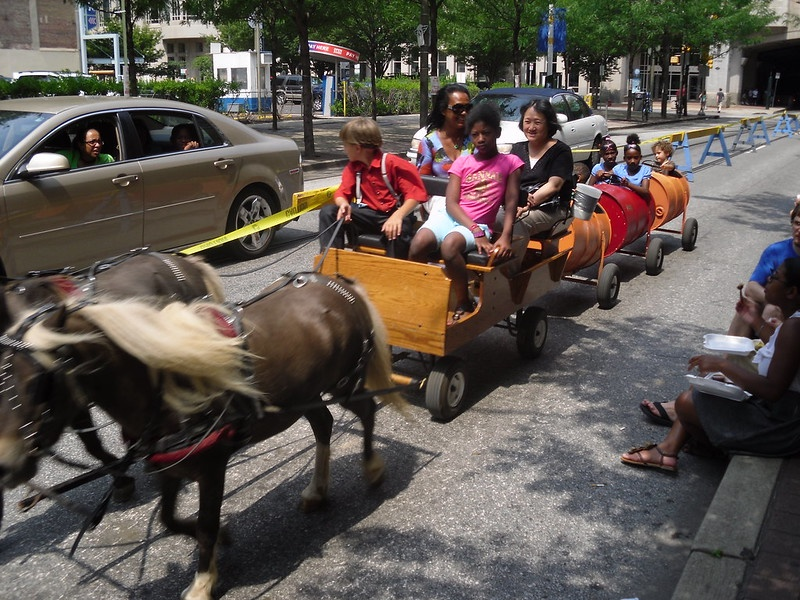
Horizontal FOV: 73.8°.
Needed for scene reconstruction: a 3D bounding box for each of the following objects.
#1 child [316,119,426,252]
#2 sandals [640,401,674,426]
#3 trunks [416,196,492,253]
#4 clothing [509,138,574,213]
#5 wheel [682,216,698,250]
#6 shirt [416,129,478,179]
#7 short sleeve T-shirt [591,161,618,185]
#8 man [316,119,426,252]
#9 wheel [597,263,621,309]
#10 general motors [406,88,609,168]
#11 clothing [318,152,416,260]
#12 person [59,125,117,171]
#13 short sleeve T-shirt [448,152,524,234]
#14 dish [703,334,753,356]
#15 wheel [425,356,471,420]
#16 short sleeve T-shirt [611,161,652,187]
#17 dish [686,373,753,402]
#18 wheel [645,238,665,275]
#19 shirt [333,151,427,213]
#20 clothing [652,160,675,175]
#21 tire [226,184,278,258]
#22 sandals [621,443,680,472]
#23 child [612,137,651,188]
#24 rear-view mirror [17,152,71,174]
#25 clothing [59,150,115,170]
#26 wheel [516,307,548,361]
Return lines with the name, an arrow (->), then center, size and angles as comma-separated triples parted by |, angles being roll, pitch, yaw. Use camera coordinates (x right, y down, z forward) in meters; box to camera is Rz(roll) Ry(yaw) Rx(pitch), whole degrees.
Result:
child -> -0.246, -0.837, 4.677 | 0.960, 1.342, 0.818 | 7, 21, 13
sandals -> 2.068, 0.926, 4.318 | 0.322, 0.078, 0.123 | 10, 16, 5
trunks -> 0.443, -0.707, 4.543 | 0.415, 0.340, 0.646 | 3, 45, 10
clothing -> 1.529, -1.364, 5.678 | 0.419, 0.726, 0.834 | 27, 21, 38
wheel -> 4.961, -1.123, 9.141 | 0.206, 0.549, 0.583 | 10, 19, 27
shirt -> 0.458, -1.391, 5.107 | 0.594, 0.519, 0.318 | -18, 19, -21
short sleeve T-shirt -> 3.176, -1.960, 8.297 | 0.369, 0.194, 0.518 | 19, 37, 37
man -> -0.255, -0.831, 4.670 | 0.980, 1.344, 0.824 | 6, 20, 9
wheel -> 2.646, -0.155, 6.768 | 0.231, 0.554, 0.587 | 5, 6, 19
general motors -> 3.651, -4.975, 16.361 | 3.709, 2.399, 7.419 | 5, 19, 34
clothing -> -0.208, -0.749, 4.708 | 0.842, 1.024, 0.662 | 2, 24, 23
person -> -3.991, -1.946, 6.759 | 0.633, 0.481, 0.426 | 9, 19, 30
short sleeve T-shirt -> 0.715, -0.991, 4.712 | 0.663, 0.623, 0.404 | 13, 11, 33
dish -> 2.266, 0.327, 3.693 | 0.276, 0.045, 0.179 | 3, 36, 17
wheel -> 0.393, 0.731, 4.409 | 0.177, 0.475, 0.513 | 8, 8, 33
short sleeve T-shirt -> 3.533, -1.920, 8.178 | 0.599, 0.508, 0.328 | -3, -3, 24
dish -> 2.095, 0.579, 3.510 | 0.240, 0.073, 0.222 | 21, 12, 34
wheel -> 3.811, -0.631, 7.987 | 0.203, 0.541, 0.577 | 7, 12, 29
shirt -> -0.182, -1.056, 4.695 | 0.841, 0.484, 0.310 | 2, 22, 22
clothing -> 4.517, -2.261, 9.113 | 0.317, 0.160, 0.431 | -1, 18, 39
tire -> -2.502, -1.253, 8.456 | 0.428, 1.128, 1.202 | 10, 14, 22
sandals -> 1.796, 1.114, 3.839 | 0.348, 0.143, 0.176 | 5, -6, 17
child -> 3.458, -2.033, 8.211 | 0.600, 0.663, 0.783 | 5, 23, 20
rear-view mirror -> -3.916, -1.487, 5.802 | 0.384, 0.142, 0.304 | -15, 15, 7
clothing -> -3.982, -1.778, 6.764 | 0.440, 0.152, 0.430 | -8, 4, 5
wheel -> 1.302, 0.341, 5.321 | 0.166, 0.434, 0.461 | 8, 21, 32
